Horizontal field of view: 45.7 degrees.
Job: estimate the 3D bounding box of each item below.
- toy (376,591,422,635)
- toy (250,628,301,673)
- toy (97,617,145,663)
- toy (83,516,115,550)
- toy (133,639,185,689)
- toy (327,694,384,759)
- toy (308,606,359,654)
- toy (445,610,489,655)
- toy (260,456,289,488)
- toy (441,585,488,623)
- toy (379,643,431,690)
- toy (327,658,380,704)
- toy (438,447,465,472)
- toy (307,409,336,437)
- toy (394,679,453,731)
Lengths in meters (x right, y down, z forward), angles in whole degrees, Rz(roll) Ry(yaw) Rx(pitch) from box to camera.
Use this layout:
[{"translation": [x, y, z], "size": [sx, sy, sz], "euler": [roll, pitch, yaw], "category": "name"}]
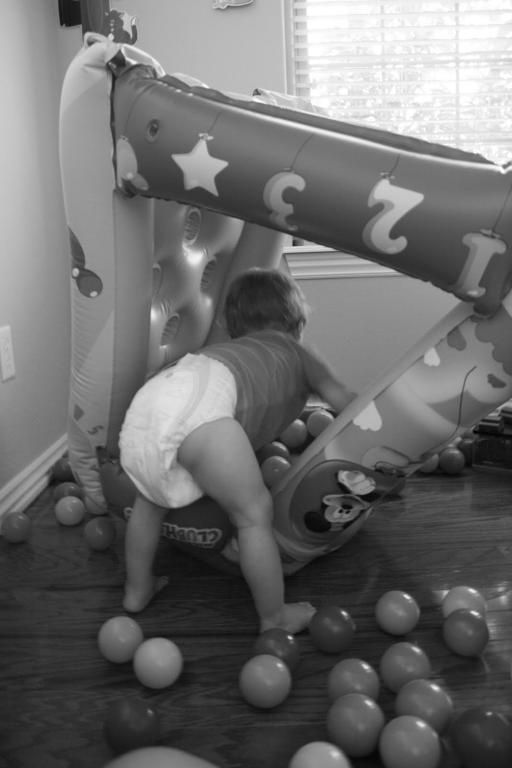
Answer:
[{"translation": [0.214, 0.345, 0.919], "size": [0.057, 0.044, 0.059], "euler": [-22, 44, -33], "category": "toy"}, {"translation": [0.031, 0.347, 0.807], "size": [0.051, 0.050, 0.060], "euler": [-20, 16, 36], "category": "toy"}, {"translation": [-0.188, 0.350, 0.838], "size": [0.063, 0.069, 0.061], "euler": [-1, -11, 13], "category": "toy"}, {"translation": [-0.319, 0.294, 1.237], "size": [0.061, 0.061, 0.062], "euler": [1, 4, -15], "category": "toy"}, {"translation": [-0.127, 0.364, 0.790], "size": [0.043, 0.041, 0.048], "euler": [-2, 41, 33], "category": "toy"}, {"translation": [0.109, 0.363, 0.651], "size": [0.062, 0.058, 0.069], "euler": [8, -12, -1], "category": "toy"}, {"translation": [0.108, 0.345, 0.861], "size": [0.051, 0.042, 0.052], "euler": [-23, 45, -35], "category": "toy"}, {"translation": [0.292, 0.341, 0.838], "size": [0.059, 0.067, 0.057], "euler": [-10, 46, 4], "category": "toy"}, {"translation": [0.045, 0.189, 1.423], "size": [0.066, 0.083, 0.084], "euler": [-2, 29, 6], "category": "toy"}, {"translation": [0.321, 0.325, 0.945], "size": [0.053, 0.060, 0.052], "euler": [30, 41, -6], "category": "toy"}, {"translation": [0.188, 0.352, 0.766], "size": [0.054, 0.059, 0.052], "euler": [3, 21, -5], "category": "toy"}, {"translation": [0.117, 0.357, 0.737], "size": [0.052, 0.058, 0.050], "euler": [10, 60, -14], "category": "toy"}, {"translation": [0.517, 0.200, 1.640], "size": [0.065, 0.072, 0.063], "euler": [0, 6, -3], "category": "toy"}, {"translation": [0.197, 0.108, 1.768], "size": [0.080, 0.075, 0.074], "euler": [15, 16, 21], "category": "toy"}, {"translation": [0.190, 0.354, 0.678], "size": [0.048, 0.045, 0.054], "euler": [-4, -4, -6], "category": "toy"}]
